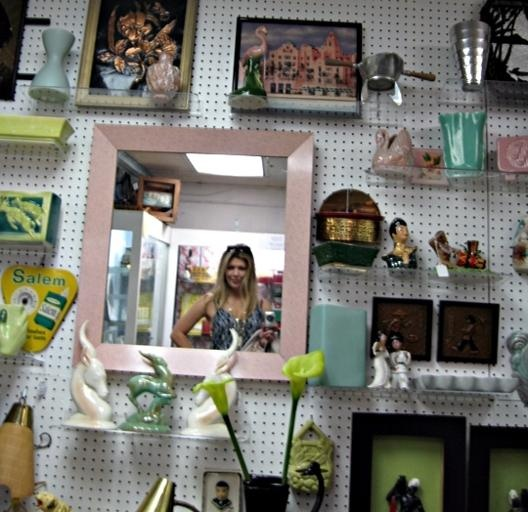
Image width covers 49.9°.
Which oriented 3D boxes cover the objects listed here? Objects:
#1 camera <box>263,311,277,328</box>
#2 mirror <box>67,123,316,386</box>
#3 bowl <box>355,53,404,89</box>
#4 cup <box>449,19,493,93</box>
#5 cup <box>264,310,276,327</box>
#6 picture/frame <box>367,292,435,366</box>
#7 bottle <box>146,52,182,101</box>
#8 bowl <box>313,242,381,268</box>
[{"bbox_3d":[0.023,0.195,1.744,0.040,0.036,0.079,6,82,-47],"label":"camera"},{"bbox_3d":[-0.203,0.022,1.765,0.647,0.035,0.870,2,83,-2],"label":"mirror"},{"bbox_3d":[0.380,-0.582,1.811,0.152,0.170,0.083,6,93,-33],"label":"bowl"},{"bbox_3d":[0.660,-0.617,1.814,0.129,0.135,0.232,14,71,-29],"label":"cup"},{"bbox_3d":[0.021,0.192,1.744,0.034,0.035,0.072,0,86,-11],"label":"cup"},{"bbox_3d":[0.421,0.234,1.749,0.167,0.016,0.209,1,83,1],"label":"picture/frame"},{"bbox_3d":[-0.312,-0.555,1.772,0.111,0.119,0.205,0,87,-2],"label":"bottle"},{"bbox_3d":[0.246,-0.001,1.697,0.121,0.095,0.050,2,81,-5],"label":"bowl"}]
